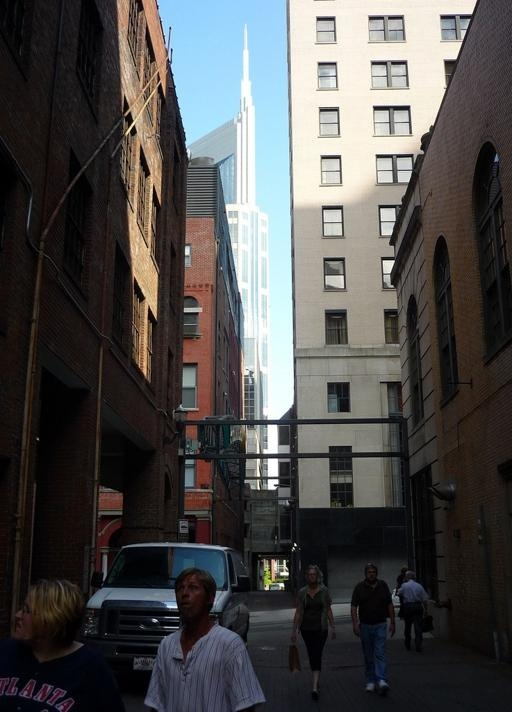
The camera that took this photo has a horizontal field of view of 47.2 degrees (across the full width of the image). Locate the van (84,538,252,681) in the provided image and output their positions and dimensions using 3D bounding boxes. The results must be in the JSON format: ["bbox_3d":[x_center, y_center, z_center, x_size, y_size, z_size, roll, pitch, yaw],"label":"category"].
[{"bbox_3d":[-1.408,4.653,10.681,1.908,2.502,4.383,-2,-28,3],"label":"van"}]

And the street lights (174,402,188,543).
[{"bbox_3d":[-2.790,3.966,21.587,0.423,4.037,0.431,9,-15,-35],"label":"street lights"}]

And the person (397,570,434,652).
[{"bbox_3d":[3.683,5.987,13.759,0.638,1.767,1.365,-6,-19,13],"label":"person"}]

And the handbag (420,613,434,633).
[{"bbox_3d":[3.872,6.117,13.348,0.233,0.355,0.585,-6,-22,12],"label":"handbag"}]

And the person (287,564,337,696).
[{"bbox_3d":[0.840,4.112,8.755,0.611,1.811,1.031,-3,-17,7],"label":"person"}]

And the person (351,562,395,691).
[{"bbox_3d":[1.757,4.097,8.812,0.609,1.815,0.707,-5,-17,13],"label":"person"}]
